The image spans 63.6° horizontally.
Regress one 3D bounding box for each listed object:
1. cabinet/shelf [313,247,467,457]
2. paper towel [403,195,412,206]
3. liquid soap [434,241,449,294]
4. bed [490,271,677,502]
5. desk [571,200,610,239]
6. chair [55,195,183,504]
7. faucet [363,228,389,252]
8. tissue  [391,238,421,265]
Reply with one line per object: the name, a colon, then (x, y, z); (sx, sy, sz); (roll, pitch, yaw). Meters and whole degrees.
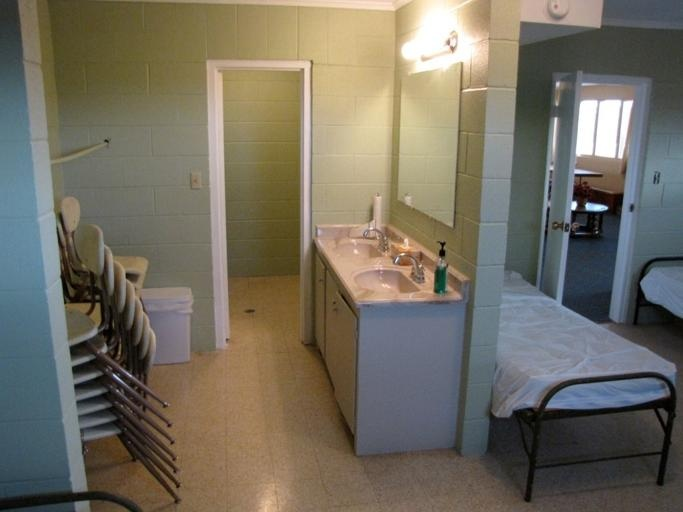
cabinet/shelf: (0.251, 0.144, 3.970); (0.919, 1.393, 2.125); (1, 5, -4)
paper towel: (0.511, -0.432, 4.246); (0.073, 0.080, 0.069); (-9, 25, -32)
liquid soap: (0.632, 0.045, 3.493); (0.081, 0.299, 0.345); (1, 15, 11)
bed: (1.466, 0.657, 3.530); (0.944, 0.745, 1.870); (-3, 23, 0)
desk: (3.946, -0.594, 9.026); (0.605, 0.313, 0.619); (18, -1, 40)
chair: (-1.359, 0.552, 3.317); (0.672, 1.169, 1.592); (-5, 15, -20)
faucet: (0.279, -0.136, 4.476); (0.166, 0.173, 0.342); (-2, 18, -10)
tissue : (0.457, 0.035, 4.021); (0.159, 0.229, 0.313); (-2, 11, -6)
